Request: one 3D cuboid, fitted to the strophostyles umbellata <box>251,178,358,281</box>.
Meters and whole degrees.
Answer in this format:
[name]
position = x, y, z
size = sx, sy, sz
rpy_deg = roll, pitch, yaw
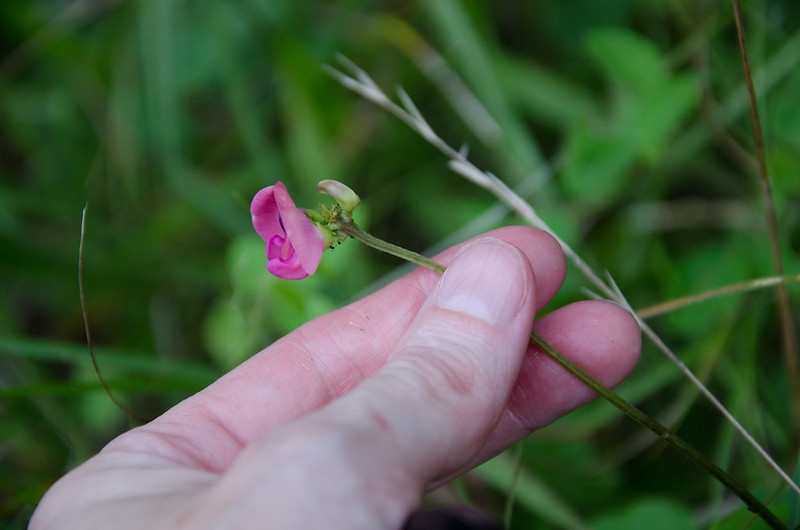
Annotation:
[strophostyles umbellata]
position = -0.375, -0.148, 2.560
size = 0.369, 0.333, 0.273
rpy_deg = -30, 7, -23
